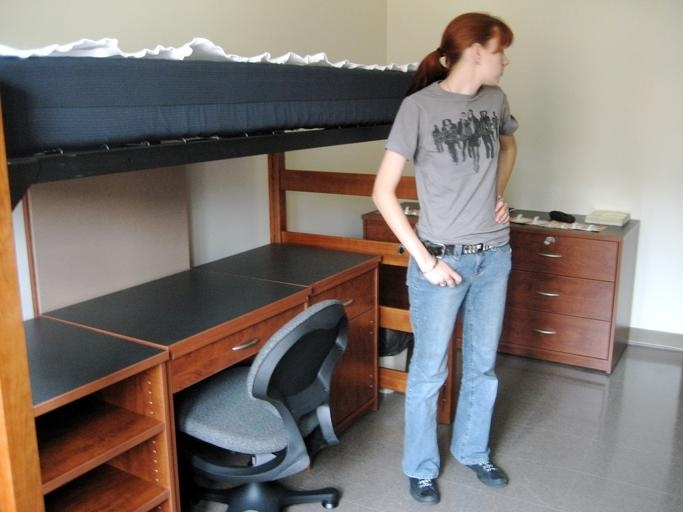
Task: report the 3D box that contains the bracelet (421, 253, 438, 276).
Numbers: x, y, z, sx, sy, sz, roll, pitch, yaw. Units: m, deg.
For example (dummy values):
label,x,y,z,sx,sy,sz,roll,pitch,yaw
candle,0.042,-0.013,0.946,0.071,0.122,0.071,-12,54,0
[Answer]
label,x,y,z,sx,sy,sz,roll,pitch,yaw
bracelet,0.352,0.037,2.198,0.022,0.079,0.062,32,-12,-26

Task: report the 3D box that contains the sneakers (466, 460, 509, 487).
label,x,y,z,sx,sy,sz,roll,pitch,yaw
sneakers,0.680,0.998,2.567,0.160,0.061,0.090,6,23,36

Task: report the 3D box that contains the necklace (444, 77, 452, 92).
label,x,y,z,sx,sy,sz,roll,pitch,yaw
necklace,0.423,-0.689,2.232,0.013,0.051,0.055,5,-15,-27

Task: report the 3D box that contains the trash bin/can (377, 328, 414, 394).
label,x,y,z,sx,sy,sz,roll,pitch,yaw
trash bin/can,0.310,0.555,3.025,0.252,0.270,0.235,2,13,8
